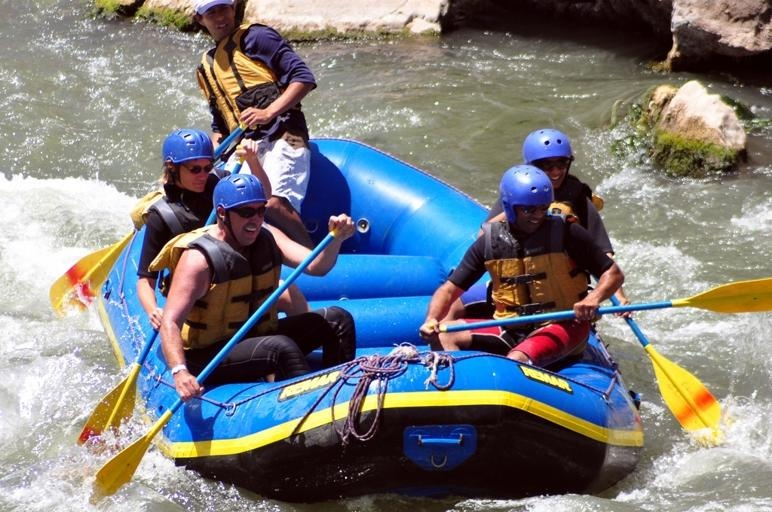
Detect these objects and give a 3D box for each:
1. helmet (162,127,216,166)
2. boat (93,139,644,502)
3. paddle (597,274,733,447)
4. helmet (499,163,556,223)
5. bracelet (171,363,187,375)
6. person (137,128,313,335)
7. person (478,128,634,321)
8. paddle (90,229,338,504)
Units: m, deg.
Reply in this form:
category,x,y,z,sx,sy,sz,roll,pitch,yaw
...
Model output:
category,x,y,z,sx,sy,sz,roll,pitch,yaw
helmet,-1.687,-0.934,7.877,0.363,0.242,0.276,13,22,41
boat,-0.284,0.511,8.211,3.932,1.920,4.122,-12,26,-21
paddle,2.299,0.822,8.227,0.518,0.198,1.970,-34,68,-3
helmet,1.111,-0.511,7.498,0.400,0.368,0.452,-3,6,-31
bracelet,-1.611,0.883,7.146,0.087,0.081,0.031,-29,43,27
person,-1.617,-0.464,7.957,1.177,1.028,1.921,-7,44,-16
person,1.516,-0.384,7.924,0.978,0.738,1.688,-2,36,-1
paddle,-1.346,0.953,7.424,0.425,3.034,0.222,49,14,12
